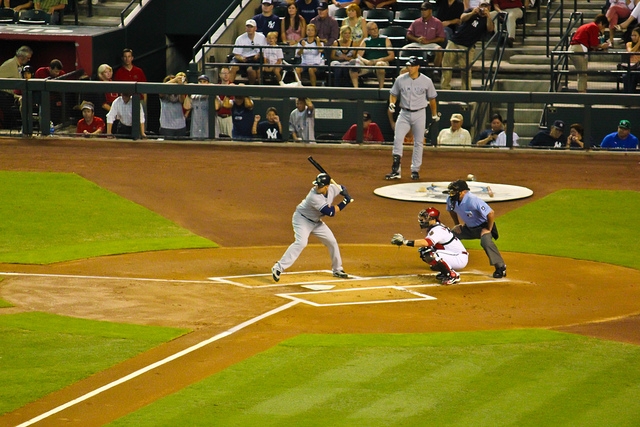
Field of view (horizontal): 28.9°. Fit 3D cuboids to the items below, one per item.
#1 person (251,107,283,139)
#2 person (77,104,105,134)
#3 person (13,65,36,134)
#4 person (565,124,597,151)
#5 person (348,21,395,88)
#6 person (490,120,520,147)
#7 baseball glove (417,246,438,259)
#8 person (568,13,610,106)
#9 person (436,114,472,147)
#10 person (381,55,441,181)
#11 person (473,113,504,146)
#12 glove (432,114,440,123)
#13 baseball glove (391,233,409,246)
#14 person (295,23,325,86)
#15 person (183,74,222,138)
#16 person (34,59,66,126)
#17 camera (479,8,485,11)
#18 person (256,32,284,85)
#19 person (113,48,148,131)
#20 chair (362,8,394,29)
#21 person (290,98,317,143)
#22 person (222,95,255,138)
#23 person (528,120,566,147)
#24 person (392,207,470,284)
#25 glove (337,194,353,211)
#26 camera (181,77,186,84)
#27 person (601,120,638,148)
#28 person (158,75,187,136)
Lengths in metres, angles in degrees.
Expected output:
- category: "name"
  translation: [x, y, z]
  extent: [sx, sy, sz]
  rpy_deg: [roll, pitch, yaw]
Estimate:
- category: "person"
  translation: [-1.597, -2.496, 34.652]
  extent: [0.916, 0.869, 0.582]
  rpy_deg: [4, 7, 17]
- category: "person"
  translation: [-6.720, -2.647, 35.149]
  extent: [0.749, 0.806, 0.814]
  rpy_deg: [-1, 25, 2]
- category: "person"
  translation: [-8.483, -3.227, 35.483]
  extent: [0.525, 1.913, 1.583]
  rpy_deg: [0, 7, -10]
- category: "person"
  translation: [7.098, -2.055, 33.795]
  extent: [0.769, 0.712, 0.412]
  rpy_deg: [2, 7, 9]
- category: "person"
  translation: [1.493, -4.511, 35.518]
  extent: [1.213, 1.813, 1.267]
  rpy_deg: [4, 7, 16]
- category: "person"
  translation: [5.083, -2.191, 34.078]
  extent: [0.628, 0.792, 0.487]
  rpy_deg: [18, 7, 21]
- category: "baseball glove"
  translation: [2.289, 0.805, 26.311]
  extent: [0.339, 0.132, 0.232]
  rpy_deg: [-15, 10, -21]
- category: "person"
  translation: [7.398, -4.436, 34.552]
  extent: [0.926, 2.153, 1.451]
  rpy_deg: [5, 8, 24]
- category: "person"
  translation: [3.714, -2.241, 34.416]
  extent: [1.114, 0.882, 0.551]
  rpy_deg: [4, 5, 28]
- category: "person"
  translation: [2.310, -2.359, 31.379]
  extent: [1.239, 3.095, 1.209]
  rpy_deg: [2, 8, 2]
- category: "person"
  translation: [4.638, -2.302, 34.148]
  extent: [0.599, 0.916, 0.523]
  rpy_deg: [10, 27, 20]
- category: "glove"
  translation: [2.940, -2.409, 31.640]
  extent: [0.176, 0.185, 0.514]
  rpy_deg: [0, 11, 6]
- category: "baseball glove"
  translation: [1.651, 0.552, 26.151]
  extent: [0.324, 0.146, 0.226]
  rpy_deg: [3, 0, 3]
- category: "person"
  translation: [-0.323, -4.551, 35.921]
  extent: [0.842, 1.745, 1.039]
  rpy_deg: [1, 7, -2]
- category: "person"
  translation: [-3.328, -2.960, 34.714]
  extent: [1.072, 1.697, 0.658]
  rpy_deg: [1, 8, -3]
- category: "person"
  translation: [-7.656, -3.255, 35.264]
  extent: [0.948, 2.053, 0.857]
  rpy_deg: [-3, 7, -31]
- category: "camera"
  translation: [4.587, -5.742, 35.305]
  extent: [0.170, 0.108, 0.043]
  rpy_deg: [-1, 8, -20]
- category: "person"
  translation: [-1.484, -4.476, 35.966]
  extent: [0.755, 1.462, 0.810]
  rpy_deg: [1, 7, -2]
- category: "person"
  translation: [-5.482, -3.395, 36.076]
  extent: [1.101, 2.530, 0.827]
  rpy_deg: [-12, 17, -32]
- category: "chair"
  translation: [1.879, -5.969, 38.398]
  extent: [1.052, 0.838, 0.813]
  rpy_deg: [0, 1, 13]
- category: "person"
  translation: [-0.483, -2.551, 34.471]
  extent: [0.770, 1.196, 0.527]
  rpy_deg: [1, 7, -1]
- category: "person"
  translation: [-2.308, -2.682, 34.703]
  extent: [0.840, 1.167, 0.539]
  rpy_deg: [2, 7, 2]
- category: "person"
  translation: [6.185, -2.163, 33.787]
  extent: [1.017, 0.742, 0.708]
  rpy_deg: [2, 7, 8]
- category: "person"
  translation: [2.399, 0.679, 26.475]
  extent: [1.569, 1.538, 0.856]
  rpy_deg: [0, 7, -12]
- category: "glove"
  translation: [0.498, -0.273, 26.292]
  extent: [0.244, 0.292, 0.594]
  rpy_deg: [2, 6, 3]
- category: "camera"
  translation: [-3.874, -3.728, 34.931]
  extent: [0.139, 0.133, 0.160]
  rpy_deg: [2, 19, 1]
- category: "person"
  translation: [8.118, -2.164, 33.510]
  extent: [0.595, 0.698, 0.391]
  rpy_deg: [15, 33, 21]
- category: "person"
  translation: [-4.186, -2.736, 34.801]
  extent: [0.776, 1.169, 0.558]
  rpy_deg: [1, 8, -7]
